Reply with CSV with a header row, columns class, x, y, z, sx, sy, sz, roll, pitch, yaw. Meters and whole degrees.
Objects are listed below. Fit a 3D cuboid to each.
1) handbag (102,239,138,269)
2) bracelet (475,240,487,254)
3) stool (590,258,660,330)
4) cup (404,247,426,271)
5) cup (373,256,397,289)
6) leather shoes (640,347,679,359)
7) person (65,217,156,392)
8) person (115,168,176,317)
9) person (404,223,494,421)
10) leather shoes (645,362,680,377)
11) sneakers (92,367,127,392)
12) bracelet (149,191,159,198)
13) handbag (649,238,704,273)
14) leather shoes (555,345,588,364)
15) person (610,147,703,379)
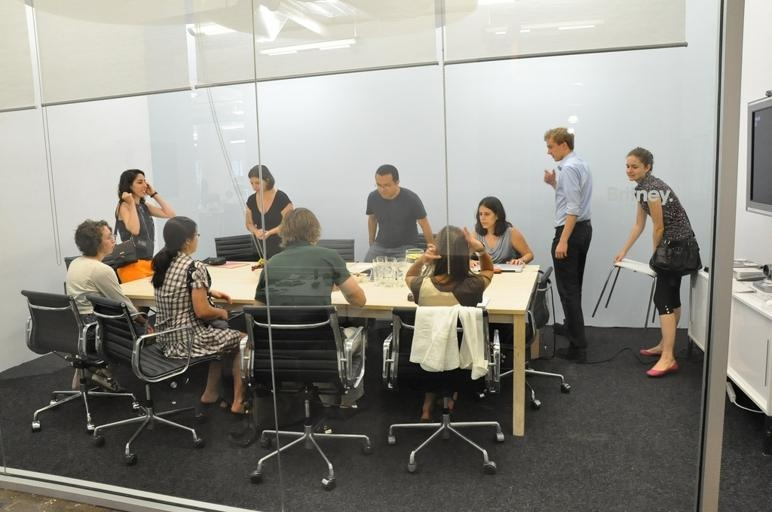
class,x,y,z,sx,sy,sz,roll,pitch,yaw
handbag,-1.584,-0.013,3.511,0.148,0.138,0.064,-6,-5,12
bracelet,0.501,-0.044,3.078,0.043,0.054,0.057,-2,4,7
stool,1.290,0.204,3.114,0.286,0.353,0.305,19,19,31
cup,0.142,0.000,3.054,0.079,0.084,0.073,0,10,0
cup,-0.008,0.083,3.104,0.127,0.149,0.148,0,1,-1
leather shoes,1.416,0.494,3.034,0.170,0.073,0.054,2,13,24
person,-1.790,0.304,3.770,0.478,1.062,0.363,2,12,-39
person,-1.453,-0.070,3.531,0.225,0.873,0.297,12,21,22
person,0.367,0.432,3.426,0.488,1.224,0.445,-3,23,-9
leather shoes,1.423,0.577,3.029,0.124,0.053,0.068,-2,9,14
sneakers,-1.740,0.765,3.655,0.212,0.126,0.094,5,6,-1
bracelet,-1.350,-0.361,3.396,0.028,0.042,0.015,5,11,-1
handbag,1.487,-0.007,3.005,0.237,0.173,0.141,4,3,-2
leather shoes,1.002,0.516,3.198,0.167,0.121,0.058,7,12,31
person,1.377,0.031,2.975,0.386,1.164,0.131,1,13,23
